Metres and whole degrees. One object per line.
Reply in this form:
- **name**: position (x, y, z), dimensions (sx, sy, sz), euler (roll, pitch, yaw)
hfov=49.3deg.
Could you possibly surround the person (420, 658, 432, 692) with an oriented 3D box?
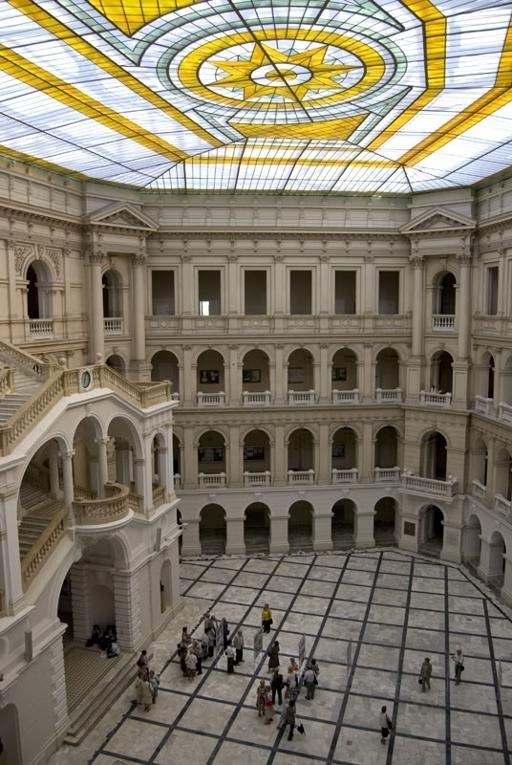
- **person**: position (5.369, 9.212, 17.884), dimensions (0.351, 1.179, 0.930), euler (2, 2, 17)

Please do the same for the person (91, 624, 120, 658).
- **person**: position (-5.164, 8.853, 19.159), dimensions (0.878, 0.556, 1.550), euler (-1, 3, -37)

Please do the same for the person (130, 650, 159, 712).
- **person**: position (-3.415, 8.888, 17.043), dimensions (0.730, 1.717, 1.425), euler (0, 2, -23)

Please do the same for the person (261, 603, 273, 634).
- **person**: position (0.426, 8.967, 21.518), dimensions (0.404, 1.284, 1.339), euler (1, 2, 2)

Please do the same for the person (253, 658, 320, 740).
- **person**: position (0.904, 9.400, 16.437), dimensions (0.627, 1.416, 1.524), euler (9, -11, -36)
